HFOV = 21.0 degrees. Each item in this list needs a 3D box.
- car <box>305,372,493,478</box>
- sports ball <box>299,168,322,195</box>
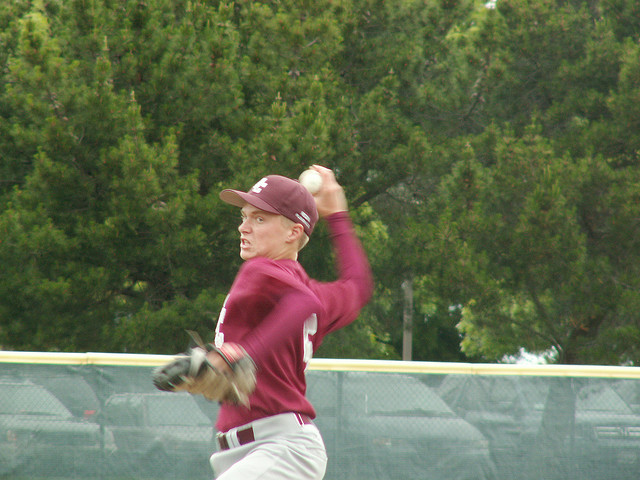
[{"bbox_3d":[1.287,3.193,28.933,2.730,1.503,1.622,-1,-15,-5],"label":"car"},{"bbox_3d":[-0.142,-0.895,27.673,0.359,0.393,0.479,5,60,3],"label":"sports ball"}]
